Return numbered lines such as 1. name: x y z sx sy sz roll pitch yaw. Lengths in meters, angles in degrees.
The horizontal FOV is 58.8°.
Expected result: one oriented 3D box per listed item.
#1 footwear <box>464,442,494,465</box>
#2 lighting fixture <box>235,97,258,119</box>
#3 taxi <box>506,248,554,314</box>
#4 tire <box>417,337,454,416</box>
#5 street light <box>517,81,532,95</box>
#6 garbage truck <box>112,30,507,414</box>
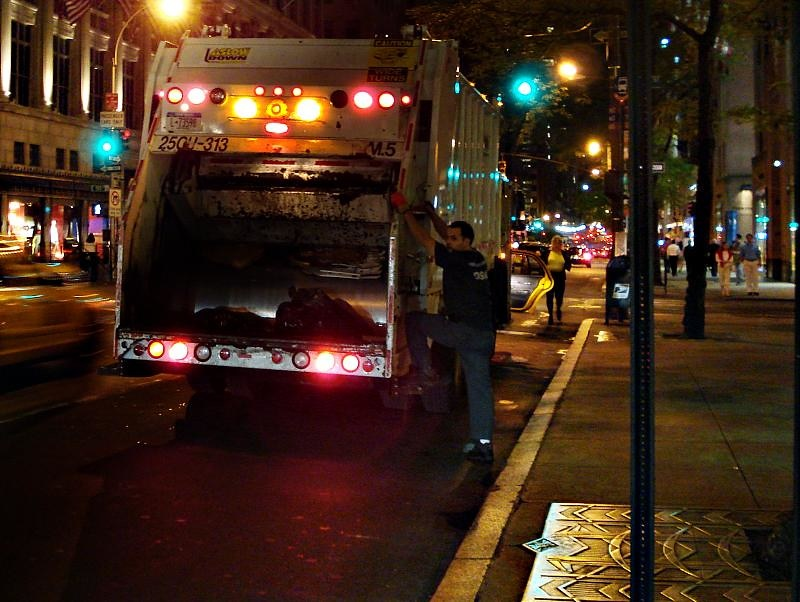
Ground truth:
1. footwear: 0.740 1.408 6.676 0.248 0.236 0.157 1 5 16
2. lighting fixture: -1.698 -2.097 7.650 0.237 0.216 0.060 -5 1 5
3. taxi: 3.745 -0.584 20.239 1.134 1.803 1.522 1 5 9
4. tire: 0.380 0.791 7.778 0.283 0.248 1.081 -7 9 14
5. street light: 3.973 -6.808 22.827 0.495 0.460 0.111 -17 25 2
6. garbage truck: -0.762 -1.268 9.275 3.082 3.141 5.086 2 7 23
